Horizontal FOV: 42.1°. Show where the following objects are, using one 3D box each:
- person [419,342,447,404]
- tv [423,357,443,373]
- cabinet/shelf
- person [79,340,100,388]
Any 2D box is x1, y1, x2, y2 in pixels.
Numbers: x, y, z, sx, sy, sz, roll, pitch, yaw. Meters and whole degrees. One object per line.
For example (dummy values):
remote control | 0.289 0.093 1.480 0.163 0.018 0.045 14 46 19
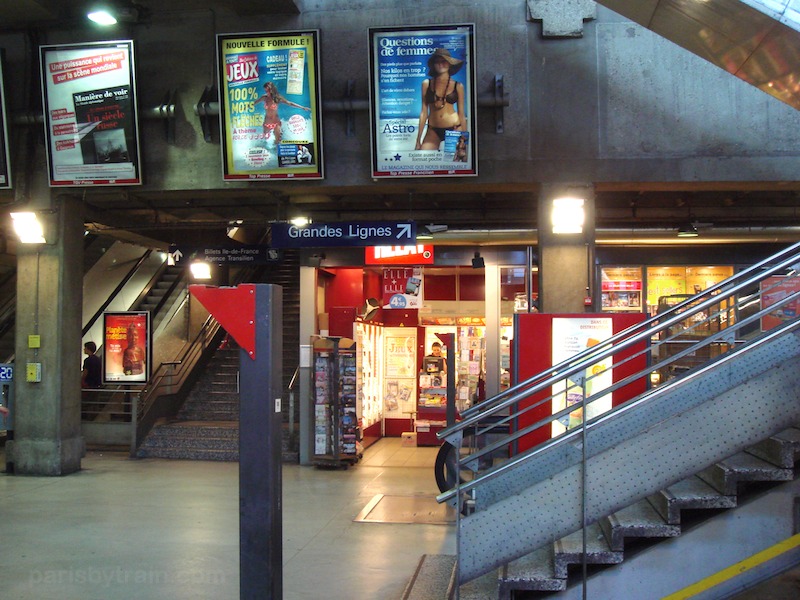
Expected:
person | 0.589 1.368 19.361 0.476 1.218 0.678 0 -6 -1
tv | 0.613 1.223 19.392 0.447 0.334 0.245 0 -4 3
cabinet/shelf | -1.045 1.632 16.686 0.740 2.061 0.524 1 -6 -5
person | -5.625 1.194 18.986 0.328 0.819 0.764 2 -6 -17
